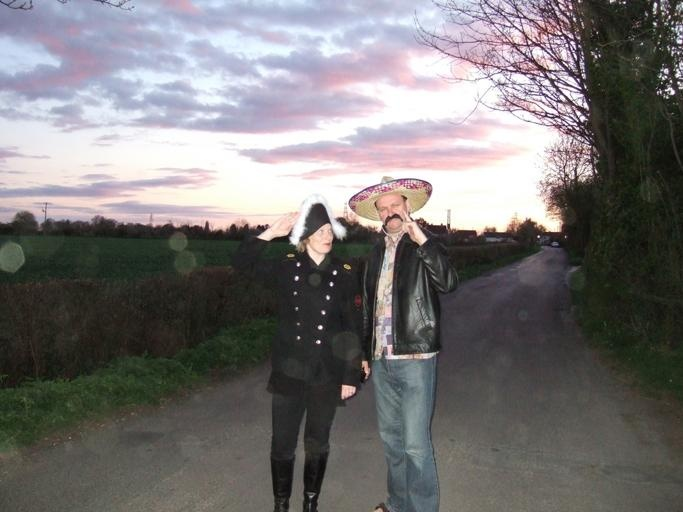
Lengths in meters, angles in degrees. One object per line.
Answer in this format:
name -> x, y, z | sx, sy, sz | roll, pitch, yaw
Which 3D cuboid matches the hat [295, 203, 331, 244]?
hat -> -0.261, -0.380, 5.860 | 0.304, 0.317, 0.378 | -11, 27, 24
